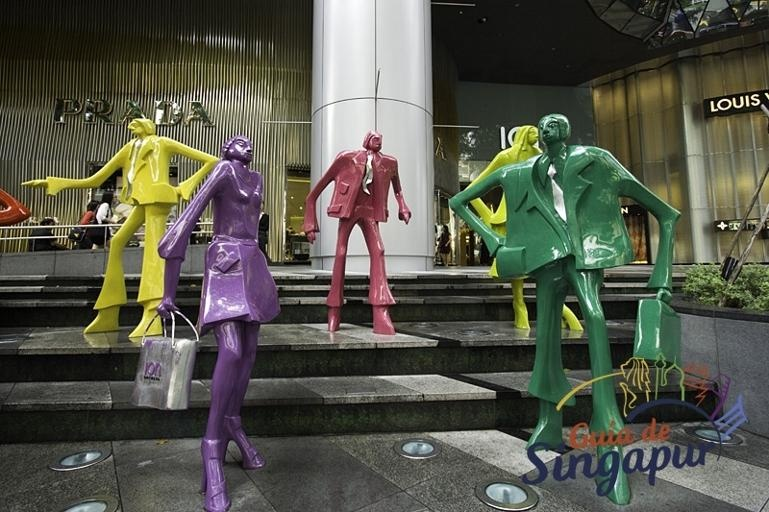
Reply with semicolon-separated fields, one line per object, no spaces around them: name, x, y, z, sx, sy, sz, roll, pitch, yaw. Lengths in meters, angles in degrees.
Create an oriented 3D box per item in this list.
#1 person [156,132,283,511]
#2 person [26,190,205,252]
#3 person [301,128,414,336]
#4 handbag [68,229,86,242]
person;-1.582;0.572;5.534;1.082;3.496;0.874;-3;7;-23
person;-5.326;-0.640;10.785;1.171;0.511;1.716;17;26;27
person;-0.349;-0.322;7.671;1.359;2.697;0.811;0;6;1
handbag;-6.289;-0.414;11.521;0.232;0.231;0.130;8;-23;-6
